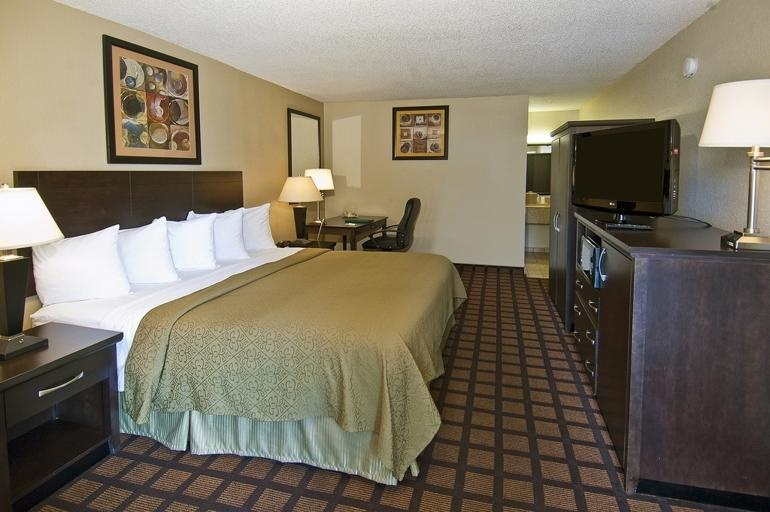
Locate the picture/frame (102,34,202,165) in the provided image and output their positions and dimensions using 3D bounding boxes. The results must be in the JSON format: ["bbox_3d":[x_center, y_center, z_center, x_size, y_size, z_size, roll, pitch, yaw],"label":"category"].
[{"bbox_3d":[-2.064,-1.372,4.473,0.039,1.112,1.096,2,7,25],"label":"picture/frame"}]

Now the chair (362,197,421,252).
[{"bbox_3d":[0.197,-0.398,6.946,0.812,1.021,0.717,5,11,13],"label":"chair"}]

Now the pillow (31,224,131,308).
[{"bbox_3d":[-2.122,0.093,3.554,0.443,0.403,0.214,-24,-21,-17],"label":"pillow"}]

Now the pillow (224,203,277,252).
[{"bbox_3d":[-1.354,-0.277,5.092,0.208,0.554,0.504,-2,9,32],"label":"pillow"}]

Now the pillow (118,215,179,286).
[{"bbox_3d":[-1.834,-0.017,3.976,0.440,0.420,0.169,-19,0,-13],"label":"pillow"}]

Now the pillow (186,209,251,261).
[{"bbox_3d":[-1.509,-0.176,4.608,0.447,0.454,0.168,-7,-8,-42],"label":"pillow"}]

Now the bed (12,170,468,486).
[{"bbox_3d":[-0.825,0.482,3.723,2.429,1.329,2.123,1,11,10],"label":"bed"}]

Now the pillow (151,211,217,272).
[{"bbox_3d":[-1.669,-0.100,4.251,0.459,0.436,0.172,-10,6,-17],"label":"pillow"}]

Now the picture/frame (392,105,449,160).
[{"bbox_3d":[0.539,-1.772,7.260,0.771,0.706,0.059,1,7,14],"label":"picture/frame"}]
